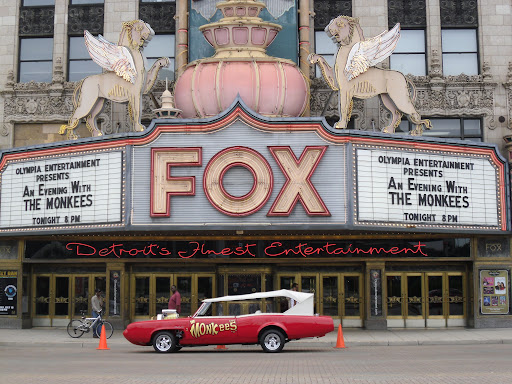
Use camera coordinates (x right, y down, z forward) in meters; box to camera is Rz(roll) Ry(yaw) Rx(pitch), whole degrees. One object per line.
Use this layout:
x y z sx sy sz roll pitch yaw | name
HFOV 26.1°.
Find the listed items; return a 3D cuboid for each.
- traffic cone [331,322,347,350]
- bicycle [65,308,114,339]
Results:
3.518 5.923 45.718 0.926 1.122 0.914 -2 0 3 | traffic cone
-7.537 5.963 49.355 2.429 1.330 1.131 0 -9 10 | bicycle
